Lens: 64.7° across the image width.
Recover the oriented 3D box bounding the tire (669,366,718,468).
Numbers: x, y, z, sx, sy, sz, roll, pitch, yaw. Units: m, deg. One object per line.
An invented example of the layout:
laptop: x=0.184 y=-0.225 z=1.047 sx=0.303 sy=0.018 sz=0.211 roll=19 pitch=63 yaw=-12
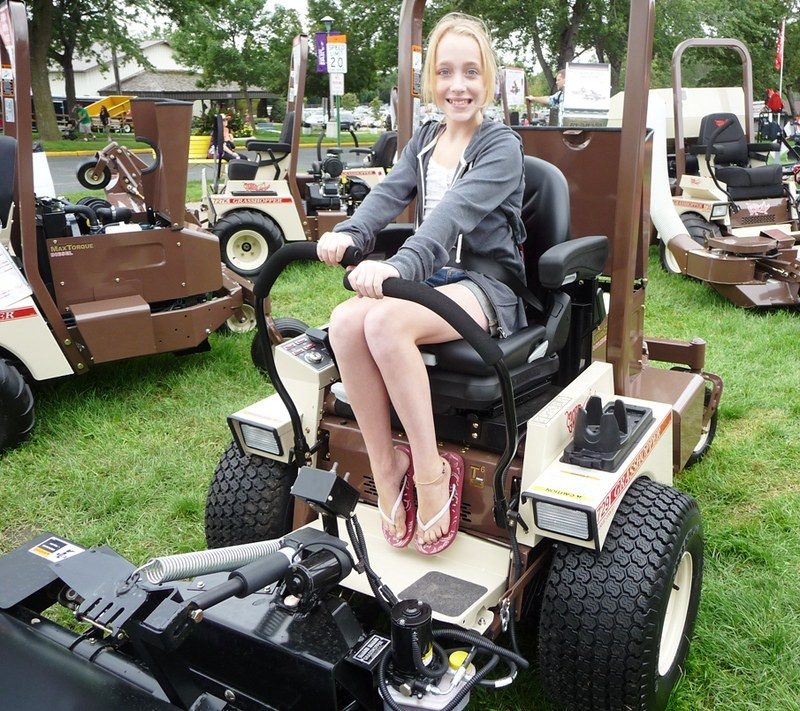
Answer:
tire: x=1.643 y=0.338 z=3.446 sx=0.332 sy=0.537 sz=0.123 roll=8 pitch=1 yaw=26

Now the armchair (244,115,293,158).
armchair: x=-1.438 y=-2.449 z=7.036 sx=0.514 sy=0.567 sz=0.437 roll=-1 pitch=16 yaw=-25

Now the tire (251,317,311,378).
tire: x=-0.824 y=-0.141 z=4.335 sx=0.408 sy=0.503 sz=0.462 roll=2 pitch=16 yaw=-10

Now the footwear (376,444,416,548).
footwear: x=-0.013 y=0.435 z=2.066 sx=0.111 sy=0.345 sz=0.072 roll=-2 pitch=-1 yaw=43

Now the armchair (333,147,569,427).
armchair: x=0.189 y=-0.230 z=2.554 sx=0.887 sy=1.167 sz=0.885 roll=10 pitch=16 yaw=44

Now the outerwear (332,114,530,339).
outerwear: x=0.135 y=-0.422 z=2.246 sx=0.503 sy=0.845 sz=0.740 roll=11 pitch=20 yaw=35

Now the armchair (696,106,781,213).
armchair: x=3.771 y=-2.194 z=7.030 sx=0.742 sy=1.103 sz=0.973 roll=-7 pitch=11 yaw=-11
